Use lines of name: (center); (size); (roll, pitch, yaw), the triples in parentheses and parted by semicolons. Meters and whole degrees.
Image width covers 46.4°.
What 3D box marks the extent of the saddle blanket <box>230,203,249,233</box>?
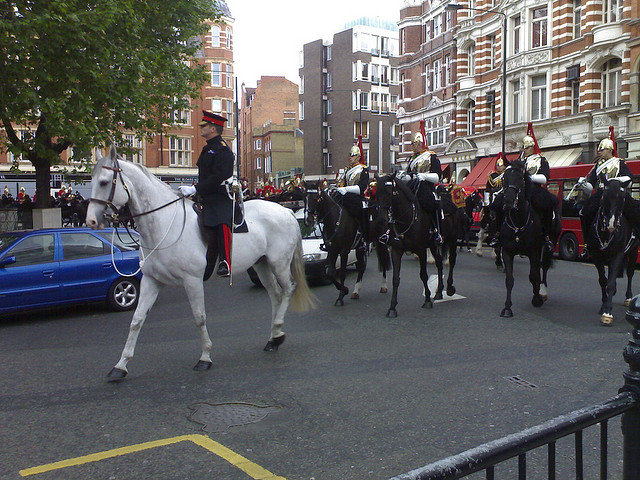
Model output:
saddle blanket: (-1.374, -0.366, 12.884); (0.242, 0.433, 0.318); (7, 7, -3)

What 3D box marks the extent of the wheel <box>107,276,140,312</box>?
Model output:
wheel: (-4.306, 1.217, 16.803); (0.795, 0.770, 0.269); (31, 5, 34)

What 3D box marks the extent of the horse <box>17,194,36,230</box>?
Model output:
horse: (-14.090, -1.368, 35.800); (0.758, 1.157, 3.443); (-6, 16, -21)

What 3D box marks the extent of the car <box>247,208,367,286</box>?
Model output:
car: (0.154, 0.104, 21.592); (2.351, 2.352, 4.689); (0, -8, -4)
